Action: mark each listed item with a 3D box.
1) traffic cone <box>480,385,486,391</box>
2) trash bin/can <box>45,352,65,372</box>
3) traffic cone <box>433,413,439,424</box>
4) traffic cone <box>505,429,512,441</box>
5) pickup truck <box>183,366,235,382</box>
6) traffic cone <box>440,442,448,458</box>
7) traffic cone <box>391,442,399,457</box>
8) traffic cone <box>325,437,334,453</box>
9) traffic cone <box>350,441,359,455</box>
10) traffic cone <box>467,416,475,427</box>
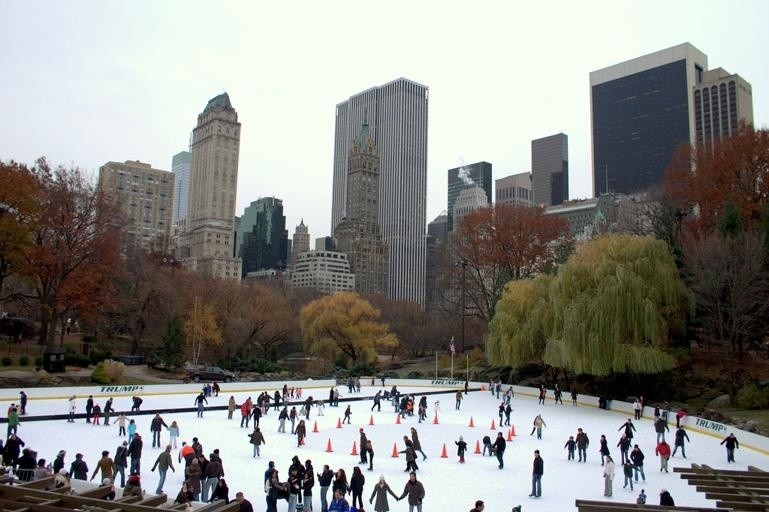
[{"bbox_3d":[9.692,12.920,69.371,0.491,0.566,0.512,-1,-9,0],"label":"traffic cone"},{"bbox_3d":[-28.436,9.137,60.821,1.562,1.691,1.176,5,-12,-31],"label":"trash bin/can"},{"bbox_3d":[3.947,12.649,54.550,0.466,0.817,0.482,-1,-8,1],"label":"traffic cone"},{"bbox_3d":[8.756,12.714,49.691,0.484,0.578,0.527,-2,-7,3],"label":"traffic cone"},{"bbox_3d":[-16.916,11.737,68.232,3.960,1.325,1.957,1,-4,-12],"label":"pickup truck"},{"bbox_3d":[3.855,12.664,45.969,0.575,0.988,0.592,-1,1,35],"label":"traffic cone"},{"bbox_3d":[0.509,12.622,45.708,0.567,0.857,0.611,0,-6,-2],"label":"traffic cone"},{"bbox_3d":[-3.763,12.381,46.177,0.625,0.912,0.665,2,2,26],"label":"traffic cone"},{"bbox_3d":[-1.954,12.449,45.809,0.637,0.877,0.641,-2,2,-12],"label":"traffic cone"},{"bbox_3d":[6.513,12.547,53.028,0.443,0.636,0.475,0,-10,-1],"label":"traffic cone"}]
